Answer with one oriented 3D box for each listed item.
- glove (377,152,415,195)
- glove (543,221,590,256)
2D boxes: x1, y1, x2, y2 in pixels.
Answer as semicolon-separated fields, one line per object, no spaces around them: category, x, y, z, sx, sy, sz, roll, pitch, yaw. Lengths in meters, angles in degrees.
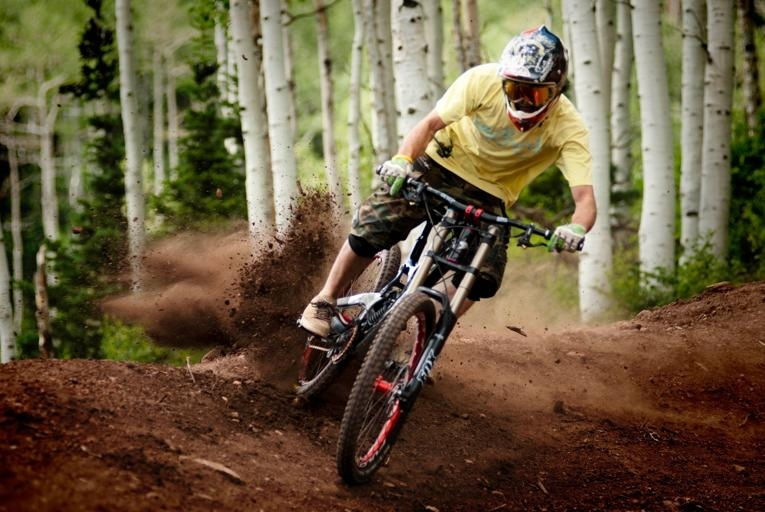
glove;0.178;-1.213;14.087;0.204;0.589;0.583;37;27;15
glove;2.779;-0.283;13.763;0.450;0.475;0.216;9;49;-14
